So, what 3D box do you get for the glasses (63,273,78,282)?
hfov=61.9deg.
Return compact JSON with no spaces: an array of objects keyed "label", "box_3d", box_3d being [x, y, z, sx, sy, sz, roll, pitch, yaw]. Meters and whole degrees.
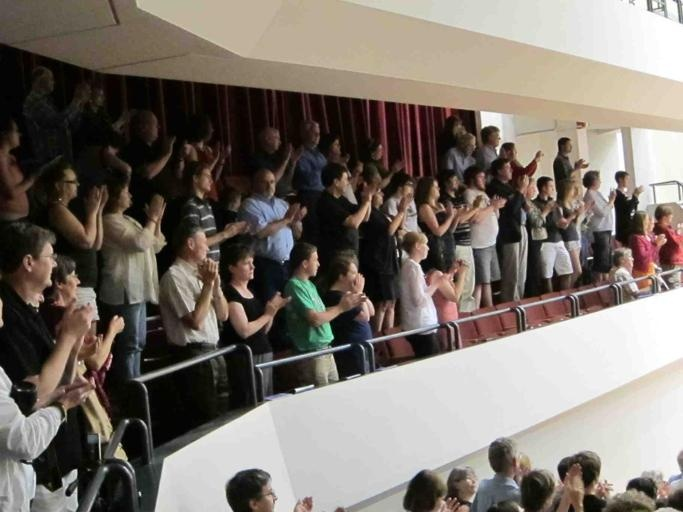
[{"label":"glasses","box_3d":[-1.503,0.122,3.162,0.048,0.047,0.038,-24,19,-31]}]
